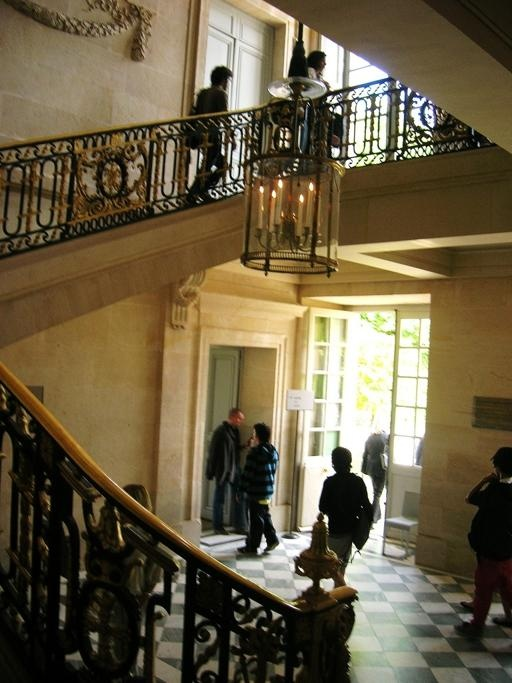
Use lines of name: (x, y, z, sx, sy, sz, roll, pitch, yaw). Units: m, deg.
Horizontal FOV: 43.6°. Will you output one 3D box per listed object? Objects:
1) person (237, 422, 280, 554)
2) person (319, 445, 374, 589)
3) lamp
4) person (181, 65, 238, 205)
person: (0.048, 1.568, 6.839, 0.383, 1.379, 0.468, 3, -4, 17)
person: (0.679, 1.228, 4.846, 0.389, 0.837, 0.189, 3, -4, 11)
lamp: (0.207, -1.065, 3.125, 0.452, 1.236, 0.446, 7, 11, 22)
person: (-0.407, -1.743, 5.327, 0.331, 1.493, 0.867, 4, -4, -6)
